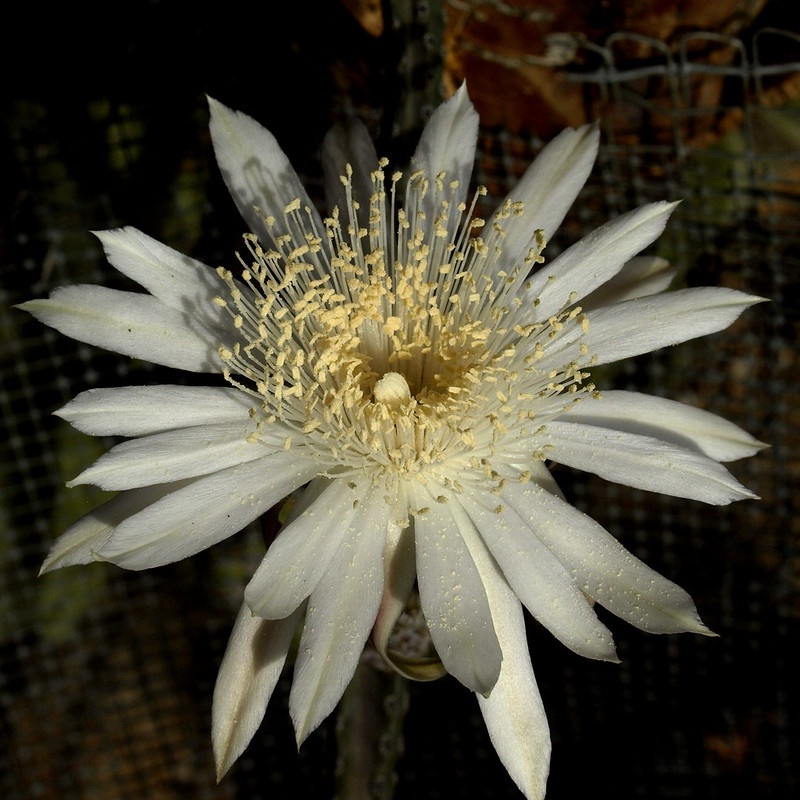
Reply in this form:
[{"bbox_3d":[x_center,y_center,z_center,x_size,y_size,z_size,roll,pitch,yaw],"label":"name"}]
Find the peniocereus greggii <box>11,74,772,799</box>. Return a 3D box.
[{"bbox_3d":[0.003,0.045,1.163,0.827,0.402,0.798,-14,81,-5],"label":"peniocereus greggii"}]
